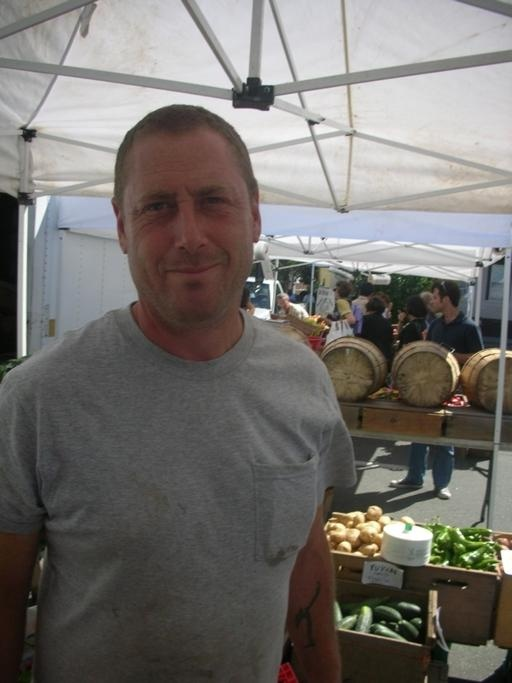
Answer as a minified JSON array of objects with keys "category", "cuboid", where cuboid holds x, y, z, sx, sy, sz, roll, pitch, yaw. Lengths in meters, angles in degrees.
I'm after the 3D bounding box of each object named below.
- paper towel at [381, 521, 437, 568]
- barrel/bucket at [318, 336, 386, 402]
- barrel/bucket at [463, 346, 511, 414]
[{"category":"paper towel","cuboid":[0.851,1.137,3.219,0.263,0.156,0.258,6,4,27]},{"category":"barrel/bucket","cuboid":[0.809,0.213,4.994,0.625,0.558,0.587,-7,6,1]},{"category":"barrel/bucket","cuboid":[1.813,0.282,4.541,0.397,0.483,0.345,2,10,-3]}]
